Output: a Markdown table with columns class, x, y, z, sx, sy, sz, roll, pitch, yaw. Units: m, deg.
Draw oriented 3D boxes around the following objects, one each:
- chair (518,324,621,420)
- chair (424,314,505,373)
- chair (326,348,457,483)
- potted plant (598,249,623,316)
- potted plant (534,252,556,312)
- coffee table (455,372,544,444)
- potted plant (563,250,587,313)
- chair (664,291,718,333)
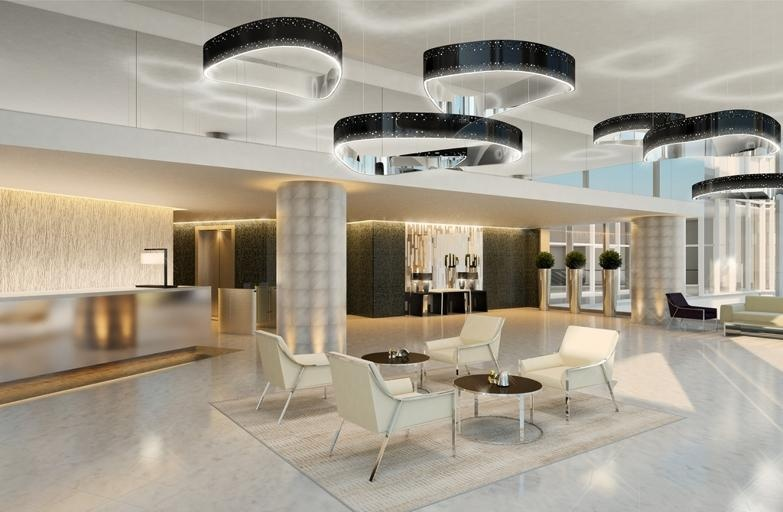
| class | x | y | z | sx | sy | sz | roll | pitch | yaw |
| --- | --- | --- | --- | --- | --- | --- | --- | --- | --- |
| chair | 2.891 | 1.848 | 8.808 | 1.573 | 1.185 | 1.535 | -1 | 3 | 33 |
| chair | 1.497 | 1.717 | 10.255 | 1.421 | 1.185 | 1.237 | 3 | -4 | -36 |
| chair | -0.031 | 2.102 | 7.458 | 1.645 | 1.334 | 1.377 | 4 | -3 | -44 |
| potted plant | 7.311 | 0.914 | 18.022 | 0.666 | 2.285 | 0.600 | 4 | 13 | 20 |
| potted plant | 5.728 | 0.932 | 20.150 | 0.646 | 2.198 | 0.871 | 3 | 12 | 15 |
| coffee table | 1.544 | 2.246 | 8.028 | 1.395 | 0.676 | 1.317 | 3 | 1 | -19 |
| potted plant | 6.572 | 0.919 | 19.338 | 0.660 | 2.239 | 0.674 | 3 | 12 | 18 |
| chair | 8.627 | 1.590 | 15.280 | 1.172 | 1.233 | 1.514 | 1 | -4 | -45 |
